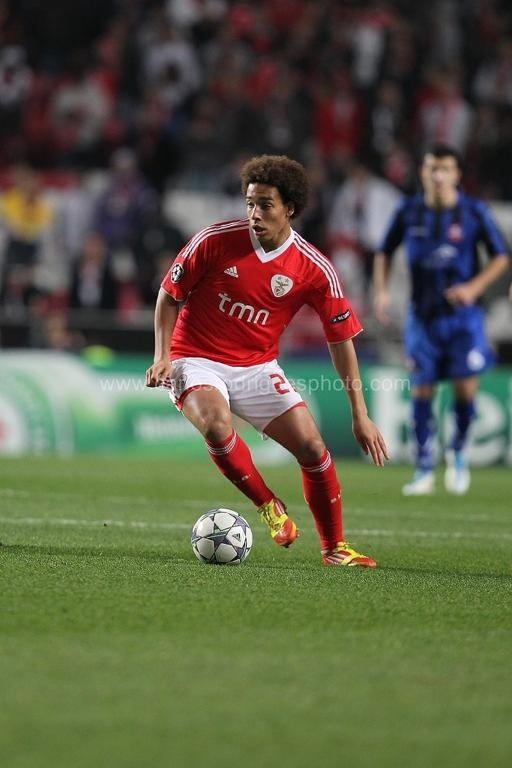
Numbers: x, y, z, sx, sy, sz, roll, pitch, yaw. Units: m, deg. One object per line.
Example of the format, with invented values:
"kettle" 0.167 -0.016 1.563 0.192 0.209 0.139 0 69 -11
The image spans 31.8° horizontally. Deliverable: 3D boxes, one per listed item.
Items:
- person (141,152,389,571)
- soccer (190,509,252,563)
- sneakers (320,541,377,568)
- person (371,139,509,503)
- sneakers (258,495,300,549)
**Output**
"person" 0.047 0.032 3.483 0.891 1.321 0.364 1 1 3
"soccer" -0.110 0.610 3.519 0.309 0.251 0.272 2 -13 -8
"sneakers" 0.348 0.661 3.443 0.239 0.088 0.078 0 0 8
"person" 1.264 -0.434 5.996 0.680 2.421 1.010 1 1 -21
"sneakers" 0.060 0.529 3.590 0.095 0.250 0.141 -46 -37 20
